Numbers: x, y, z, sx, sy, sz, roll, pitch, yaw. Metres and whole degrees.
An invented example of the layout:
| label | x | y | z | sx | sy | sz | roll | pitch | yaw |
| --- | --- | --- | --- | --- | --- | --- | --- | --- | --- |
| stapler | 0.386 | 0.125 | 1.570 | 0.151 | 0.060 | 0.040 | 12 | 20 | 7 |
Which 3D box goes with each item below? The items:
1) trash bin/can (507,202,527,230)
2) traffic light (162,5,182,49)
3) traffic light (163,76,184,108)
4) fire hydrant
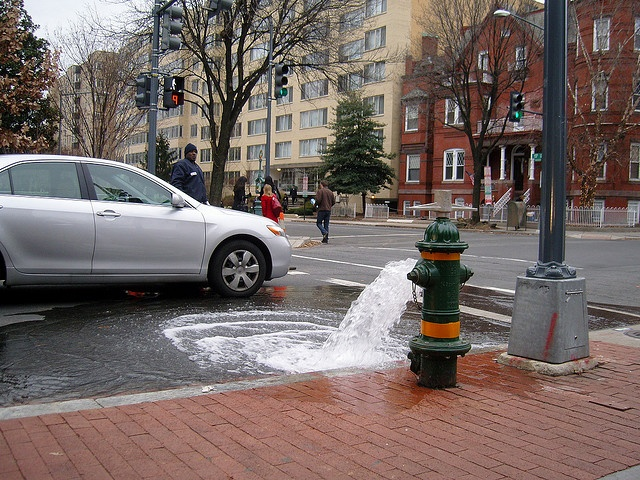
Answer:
| label | x | y | z | sx | sy | sz | roll | pitch | yaw |
| --- | --- | --- | --- | --- | --- | --- | --- | --- | --- |
| trash bin/can | 11.507 | -1.440 | 31.582 | 1.004 | 1.656 | 1.424 | 3 | 5 | 20 |
| traffic light | -3.937 | -5.582 | 14.334 | 0.511 | 1.084 | 1.484 | 0 | 5 | -17 |
| traffic light | -3.904 | -3.971 | 14.386 | 0.508 | 0.886 | 0.453 | -1 | 5 | -20 |
| fire hydrant | 1.069 | 0.544 | 4.836 | 0.562 | 1.511 | 0.406 | 3 | 5 | 17 |
